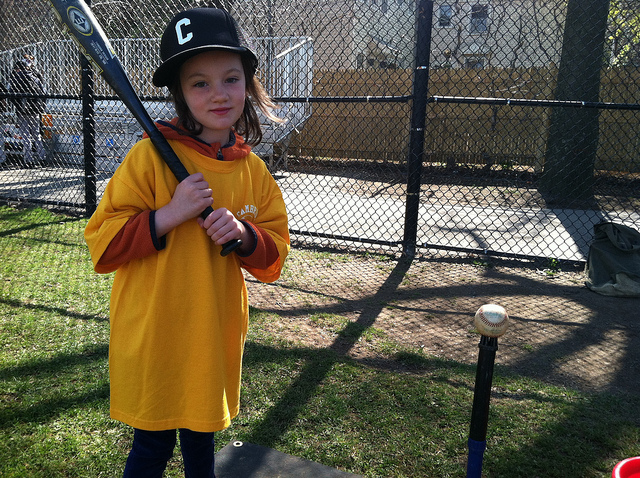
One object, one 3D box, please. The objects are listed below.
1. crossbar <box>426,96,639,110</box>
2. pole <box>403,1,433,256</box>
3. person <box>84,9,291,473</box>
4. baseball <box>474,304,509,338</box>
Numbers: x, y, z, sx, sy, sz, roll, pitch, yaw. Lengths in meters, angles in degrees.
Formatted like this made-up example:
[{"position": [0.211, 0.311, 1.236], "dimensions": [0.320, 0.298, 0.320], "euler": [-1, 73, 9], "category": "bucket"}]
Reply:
[{"position": [2.025, -1.386, 5.354], "dimensions": [1.730, 0.118, 1.139], "euler": [5, 12, 13], "category": "crossbar"}, {"position": [0.947, -1.041, 5.267], "dimensions": [0.154, 2.464, 0.234], "euler": [3, 10, 9], "category": "pole"}, {"position": [-0.548, 0.109, 2.369], "dimensions": [0.852, 2.211, 0.558], "euler": [-4, 11, -29], "category": "person"}, {"position": [0.741, 0.350, 2.385], "dimensions": [0.129, 0.148, 0.138], "euler": [1, 7, -6], "category": "baseball"}]
